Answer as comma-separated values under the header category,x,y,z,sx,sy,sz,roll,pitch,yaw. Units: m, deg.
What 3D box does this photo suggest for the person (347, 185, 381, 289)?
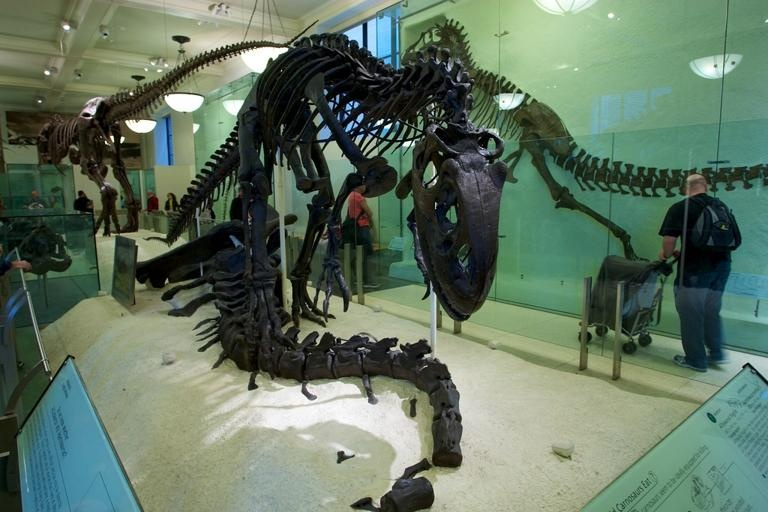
category,x,y,z,sx,sy,sz,roll,pitch,yaw
person,-0.311,-0.213,7.409,0.498,1.430,0.449,1,6,-12

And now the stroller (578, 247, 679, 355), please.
category,x,y,z,sx,sy,sz,roll,pitch,yaw
stroller,2.569,0.464,5.483,0.783,1.000,0.867,4,14,-4

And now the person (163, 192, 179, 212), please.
category,x,y,z,sx,sy,sz,roll,pitch,yaw
person,-4.979,-1.244,11.808,0.269,0.417,1.082,0,6,-23

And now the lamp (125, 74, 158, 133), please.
category,x,y,z,sx,sy,sz,roll,pitch,yaw
lamp,-5.145,-3.185,10.628,0.713,1.109,0.679,-6,12,-33

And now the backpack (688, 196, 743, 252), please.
category,x,y,z,sx,sy,sz,roll,pitch,yaw
backpack,3.228,-0.295,4.958,0.401,0.555,0.308,-1,2,-6

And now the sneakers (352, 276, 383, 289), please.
category,x,y,z,sx,sy,sz,roll,pitch,yaw
sneakers,-0.218,0.393,7.521,0.604,0.152,0.174,1,1,19

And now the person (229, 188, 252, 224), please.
category,x,y,z,sx,sy,sz,roll,pitch,yaw
person,-2.217,-0.728,7.785,0.270,0.843,0.608,8,5,-16

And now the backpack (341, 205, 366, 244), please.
category,x,y,z,sx,sy,sz,roll,pitch,yaw
backpack,-0.462,-0.378,7.454,0.289,0.504,0.494,0,4,-15

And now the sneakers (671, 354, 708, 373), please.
category,x,y,z,sx,sy,sz,roll,pitch,yaw
sneakers,3.051,1.080,5.045,0.114,0.124,0.273,-8,19,-32

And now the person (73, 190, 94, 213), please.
category,x,y,z,sx,sy,sz,roll,pitch,yaw
person,-6.127,-1.127,10.336,0.283,0.399,1.019,-1,7,-29
